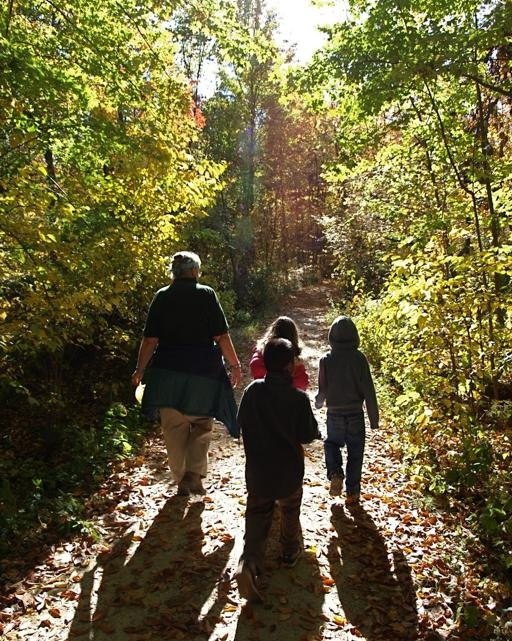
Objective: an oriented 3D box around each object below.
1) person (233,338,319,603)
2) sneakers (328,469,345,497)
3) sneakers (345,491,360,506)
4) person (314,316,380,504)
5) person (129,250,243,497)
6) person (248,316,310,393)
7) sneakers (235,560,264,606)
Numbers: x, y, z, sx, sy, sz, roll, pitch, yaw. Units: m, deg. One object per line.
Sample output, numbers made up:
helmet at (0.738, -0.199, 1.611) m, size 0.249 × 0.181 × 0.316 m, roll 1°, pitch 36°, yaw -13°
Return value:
person at (0.049, 0.967, 3.154) m, size 0.673 × 1.642 × 0.433 m, roll -10°, pitch 14°, yaw -44°
sneakers at (0.680, 1.400, 4.069) m, size 0.119 × 0.194 × 0.196 m, roll -2°, pitch 21°, yaw 6°
sneakers at (0.841, 1.577, 4.214) m, size 0.145 × 0.140 × 0.147 m, roll 1°, pitch -2°, yaw 1°
person at (0.760, 0.747, 4.072) m, size 0.509 × 1.517 × 0.399 m, roll 1°, pitch 10°, yaw 7°
person at (-0.595, 0.546, 4.083) m, size 0.891 × 2.212 × 0.425 m, roll 0°, pitch 10°, yaw -1°
person at (0.145, 0.379, 4.210) m, size 0.497 × 0.352 × 1.127 m, roll 17°, pitch -18°, yaw -5°
sneakers at (-0.045, 1.654, 3.055) m, size 0.168 × 0.327 × 0.286 m, roll 0°, pitch 10°, yaw 0°
